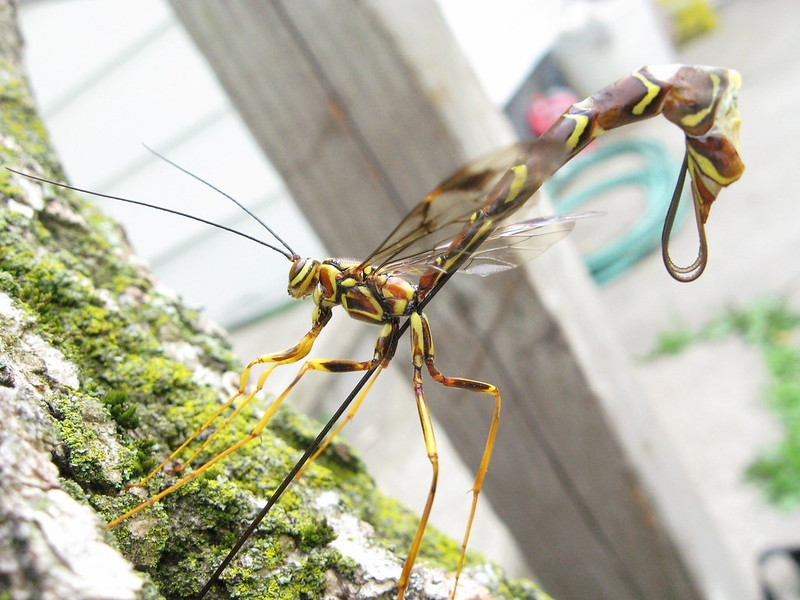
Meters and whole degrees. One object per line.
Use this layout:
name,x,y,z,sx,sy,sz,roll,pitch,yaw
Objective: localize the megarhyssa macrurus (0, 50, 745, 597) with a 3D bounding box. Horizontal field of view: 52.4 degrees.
megarhyssa macrurus,0.104,0.058,1.537,0.905,1.127,0.581,9,-38,27
